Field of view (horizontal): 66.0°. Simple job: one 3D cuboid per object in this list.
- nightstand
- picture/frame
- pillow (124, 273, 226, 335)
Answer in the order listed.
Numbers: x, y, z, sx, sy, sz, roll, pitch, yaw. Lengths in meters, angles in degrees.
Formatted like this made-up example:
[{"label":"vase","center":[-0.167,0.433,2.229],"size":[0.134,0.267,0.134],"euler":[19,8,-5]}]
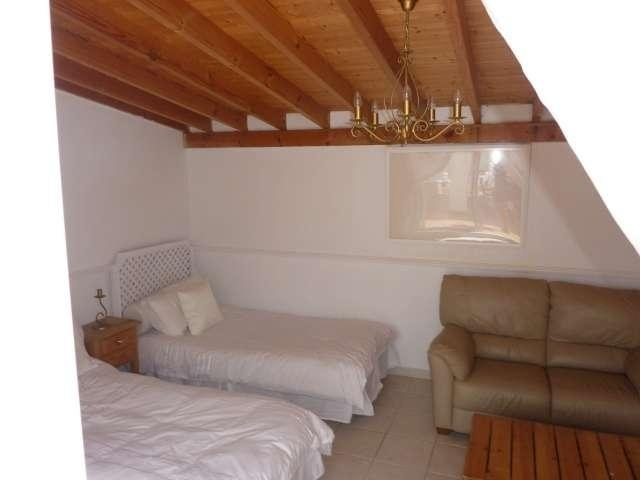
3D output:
[{"label":"nightstand","center":[-1.570,0.793,3.703],"size":[0.359,0.440,0.370],"euler":[8,16,26]},{"label":"picture/frame","center":[1.235,-0.399,4.235],"size":[0.964,0.669,0.014],"euler":[4,10,29]},{"label":"pillow","center":[-1.197,0.596,4.305],"size":[0.532,0.450,0.172],"euler":[-17,-15,-49]}]
